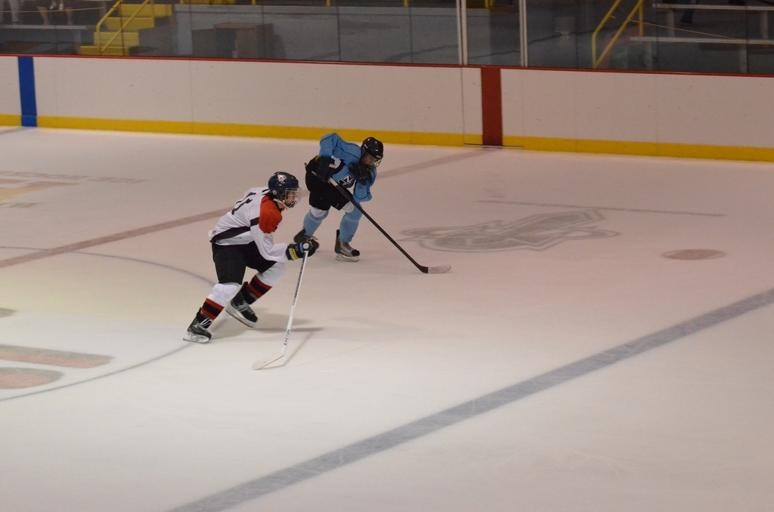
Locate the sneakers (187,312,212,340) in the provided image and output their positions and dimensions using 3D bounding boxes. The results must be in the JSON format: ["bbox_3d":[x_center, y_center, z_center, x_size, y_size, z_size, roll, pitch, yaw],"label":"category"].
[{"bbox_3d":[-1.403,0.530,5.303,0.195,0.232,0.122,-1,13,-14],"label":"sneakers"}]

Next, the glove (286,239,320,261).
[{"bbox_3d":[-0.636,-0.046,5.311,0.252,0.078,0.148,-8,13,16],"label":"glove"}]

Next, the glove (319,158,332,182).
[{"bbox_3d":[-0.587,-0.827,6.694,0.141,0.235,0.116,3,13,7],"label":"glove"}]

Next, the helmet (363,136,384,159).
[{"bbox_3d":[-0.134,-1.016,6.688,0.200,0.197,0.282,1,10,-3],"label":"helmet"}]

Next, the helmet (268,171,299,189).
[{"bbox_3d":[-0.804,-0.574,5.351,0.258,0.135,0.150,-3,17,5],"label":"helmet"}]
